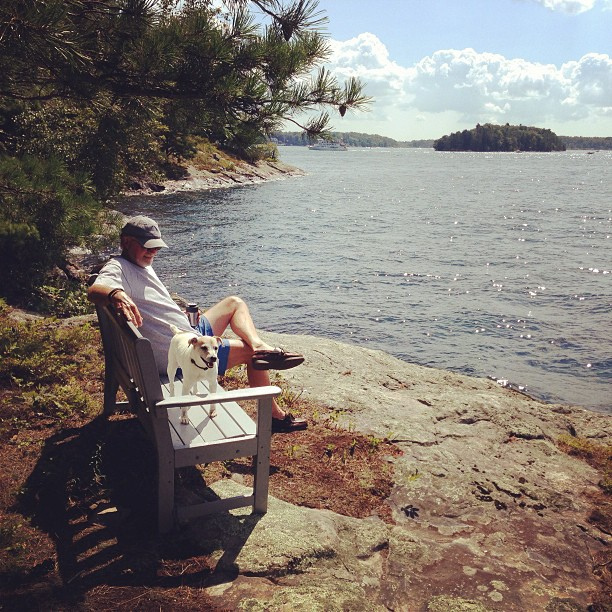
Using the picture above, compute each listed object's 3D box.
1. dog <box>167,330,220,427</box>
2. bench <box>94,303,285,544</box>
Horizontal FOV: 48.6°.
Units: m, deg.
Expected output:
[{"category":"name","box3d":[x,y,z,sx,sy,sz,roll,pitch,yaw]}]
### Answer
[{"category":"dog","box3d":[-0.921,0.511,5.568,0.322,0.752,1.002,-3,15,-25]},{"category":"bench","box3d":[-0.987,0.987,5.552,0.654,0.937,1.571,-4,17,-25]}]
